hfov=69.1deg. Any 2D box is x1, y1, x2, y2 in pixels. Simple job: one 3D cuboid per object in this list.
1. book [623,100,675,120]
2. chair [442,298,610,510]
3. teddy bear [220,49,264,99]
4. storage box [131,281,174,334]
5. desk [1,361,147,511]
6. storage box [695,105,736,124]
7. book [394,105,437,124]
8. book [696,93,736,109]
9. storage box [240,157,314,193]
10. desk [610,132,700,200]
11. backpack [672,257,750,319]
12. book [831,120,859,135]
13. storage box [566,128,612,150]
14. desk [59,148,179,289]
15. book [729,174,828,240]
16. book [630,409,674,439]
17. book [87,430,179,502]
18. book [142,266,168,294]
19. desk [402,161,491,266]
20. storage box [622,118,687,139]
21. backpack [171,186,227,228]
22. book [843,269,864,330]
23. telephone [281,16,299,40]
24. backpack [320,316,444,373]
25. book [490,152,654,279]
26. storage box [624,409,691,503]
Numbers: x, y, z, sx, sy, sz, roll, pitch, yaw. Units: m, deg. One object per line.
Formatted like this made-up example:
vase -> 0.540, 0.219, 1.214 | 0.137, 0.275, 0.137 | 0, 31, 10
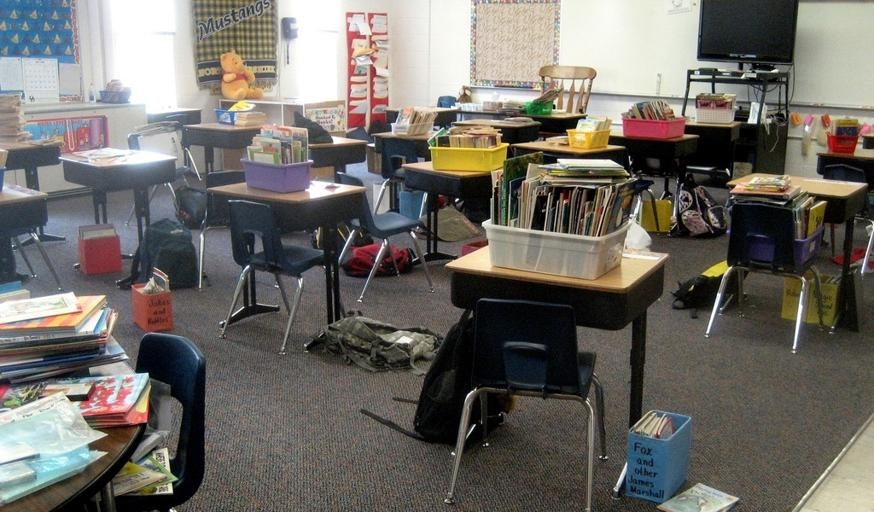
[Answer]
book -> 2.477, -1.709, 7.370 | 0.591, 0.201, 0.319 | 4, 18, 16
chair -> 0.472, 0.803, 3.552 | 0.813, 1.183, 0.420 | 2, 18, 11
teddy bear -> -3.107, -2.903, 10.189 | 0.647, 0.716, 0.600 | -4, 22, -23
storage box -> -2.322, 0.431, 5.196 | 0.223, 0.280, 0.394 | -6, 10, -34
desk -> -1.449, 0.800, 2.691 | 0.453, 0.482, 0.720 | -1, 17, 0
storage box -> 3.492, -1.767, 7.980 | 0.352, 0.123, 0.255 | 3, 8, 27
book -> -0.245, -1.676, 7.588 | 0.307, 0.194, 0.526 | 11, 21, 34
book -> 3.500, -1.957, 7.964 | 0.410, 0.170, 0.222 | 11, 21, 33
storage box -> -1.317, -0.688, 5.284 | 0.456, 0.196, 0.302 | 5, 10, 25
desk -> 2.611, -1.263, 7.586 | 1.057, 0.955, 0.677 | 12, 28, 37
backpack -> 2.430, 0.259, 5.709 | 0.628, 0.215, 0.432 | -22, 49, -18
book -> 4.332, -1.405, 6.743 | 0.232, 0.199, 0.228 | 6, 16, 27
storage box -> 1.663, -1.251, 6.907 | 0.271, 0.161, 0.370 | 4, 7, 33
desk -> -3.305, -0.382, 6.587 | 0.939, 1.304, 1.521 | -8, 16, -42
book -> 2.703, -0.429, 4.968 | 0.524, 0.211, 0.658 | 7, 14, 33
book -> 1.258, 0.987, 3.690 | 0.159, 0.067, 0.196 | -9, 7, -27
book -> -1.293, 0.909, 2.778 | 0.065, 0.265, 0.272 | 2, 23, 23
book -> -2.415, 0.203, 5.476 | 0.155, 0.144, 0.119 | 22, 31, 17
desk -> 0.060, -0.429, 6.307 | 0.655, 0.902, 1.031 | 11, 17, 37
storage box -> 2.490, -1.465, 7.350 | 0.444, 0.156, 0.352 | 5, 11, 35
backpack -> -2.646, -0.489, 7.097 | 0.694, 0.396, 0.920 | -2, 13, -20
book -> 3.458, 0.373, 5.280 | 0.115, 0.422, 0.488 | -2, 3, 34
telephone -> -2.494, -3.893, 10.761 | 0.201, 0.354, 0.363 | 6, 16, 22
backpack -> -0.444, 0.679, 4.900 | 0.599, 0.190, 0.535 | 11, 12, 21
book -> 0.812, -0.280, 3.803 | 0.822, 0.571, 0.672 | 6, 13, 17
storage box -> 1.272, 1.171, 3.647 | 0.236, 0.397, 0.427 | 7, 15, 36
